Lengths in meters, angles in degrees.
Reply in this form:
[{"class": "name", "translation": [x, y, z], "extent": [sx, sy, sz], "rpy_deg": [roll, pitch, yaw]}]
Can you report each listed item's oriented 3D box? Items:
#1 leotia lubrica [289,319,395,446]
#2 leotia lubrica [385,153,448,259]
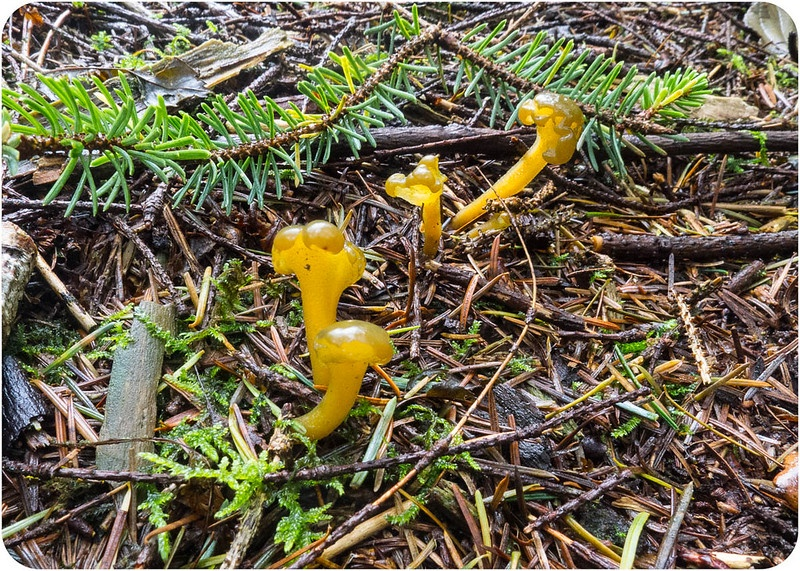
[{"class": "leotia lubrica", "translation": [-0.300, 0.514, 4.304], "extent": [0.502, 0.429, 0.703], "rpy_deg": [0, 107, -15]}, {"class": "leotia lubrica", "translation": [0.107, -0.457, 4.825], "extent": [0.341, 0.718, 0.317], "rpy_deg": [32, 67, 25]}]
